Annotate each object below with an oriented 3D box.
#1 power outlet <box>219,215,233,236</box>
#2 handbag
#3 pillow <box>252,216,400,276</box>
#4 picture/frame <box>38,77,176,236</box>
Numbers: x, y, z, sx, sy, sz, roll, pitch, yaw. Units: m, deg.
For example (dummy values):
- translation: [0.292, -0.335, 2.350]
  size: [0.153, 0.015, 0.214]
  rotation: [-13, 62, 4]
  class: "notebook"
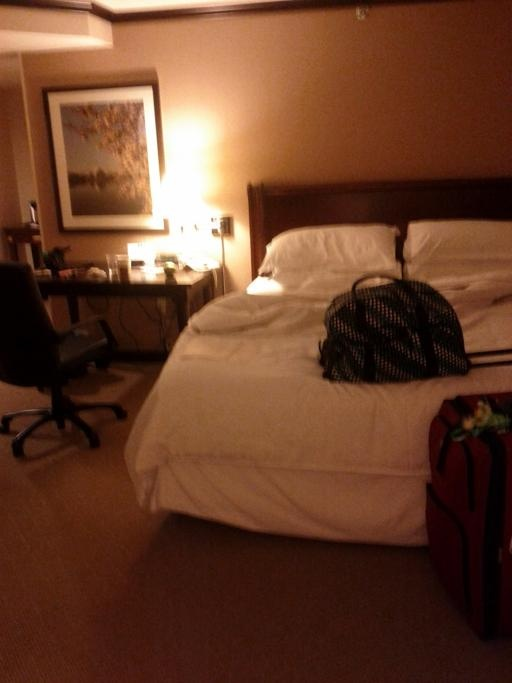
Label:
- translation: [-0.203, -0.818, 3.707]
  size: [0.124, 0.193, 0.105]
  rotation: [-1, 13, -4]
  class: "power outlet"
- translation: [0.436, -0.080, 1.682]
  size: [0.439, 0.359, 0.268]
  rotation: [-8, 32, 16]
  class: "handbag"
- translation: [0.439, -0.558, 3.213]
  size: [0.526, 0.147, 0.457]
  rotation: [-1, 42, 9]
  class: "pillow"
- translation: [-1.022, -1.353, 3.713]
  size: [0.951, 1.247, 0.059]
  rotation: [3, 26, 9]
  class: "picture/frame"
